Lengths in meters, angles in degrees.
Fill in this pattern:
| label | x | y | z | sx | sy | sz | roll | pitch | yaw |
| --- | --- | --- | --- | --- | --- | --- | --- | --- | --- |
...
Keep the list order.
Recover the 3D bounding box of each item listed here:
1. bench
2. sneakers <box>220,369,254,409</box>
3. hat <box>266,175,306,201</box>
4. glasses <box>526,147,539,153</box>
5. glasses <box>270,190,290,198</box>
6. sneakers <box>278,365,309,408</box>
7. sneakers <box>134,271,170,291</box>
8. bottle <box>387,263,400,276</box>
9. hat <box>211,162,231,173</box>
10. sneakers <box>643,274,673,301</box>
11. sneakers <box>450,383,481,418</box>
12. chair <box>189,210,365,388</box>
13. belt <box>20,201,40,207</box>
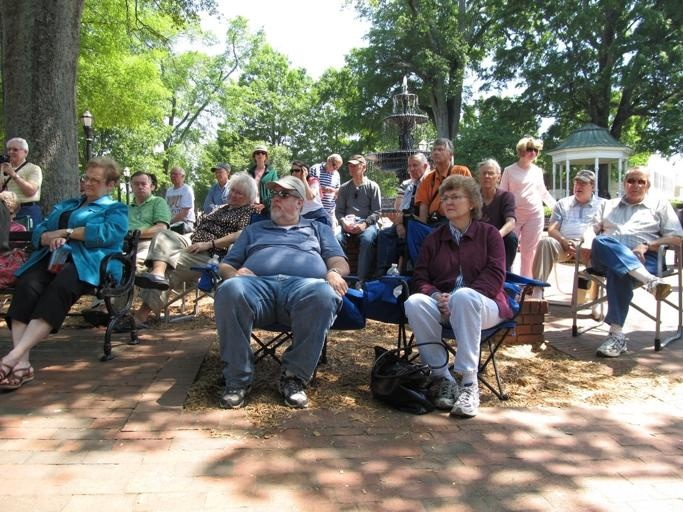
| label | x | y | z | sx | sy | sz | roll | pitch | yaw |
| --- | --- | --- | --- | --- | --- | --- | --- | --- | --- |
| bench | -2.454 | 0.356 | 5.223 | 1.524 | 0.797 | 0.554 | -2 | -4 | 23 |
| sneakers | -0.792 | 1.004 | 4.332 | 0.223 | 0.218 | 0.245 | 0 | 13 | -9 |
| hat | -0.466 | -0.618 | 5.042 | 0.193 | 0.134 | 0.293 | 9 | -13 | 44 |
| glasses | 2.566 | -1.444 | 7.774 | 0.085 | 0.070 | 0.023 | 2 | 8 | 5 |
| glasses | -0.530 | -0.540 | 4.996 | 0.123 | 0.040 | 0.133 | 0 | 1 | 9 |
| sneakers | -0.355 | 1.032 | 4.371 | 0.162 | 0.134 | 0.338 | 0 | -5 | -26 |
| sneakers | -1.923 | 0.252 | 5.893 | 0.338 | 0.150 | 0.131 | 13 | 36 | -11 |
| bottle | 0.538 | 0.147 | 6.094 | 0.141 | 0.156 | 0.134 | 5 | -9 | -31 |
| hat | -2.076 | -1.523 | 9.772 | 0.216 | 0.147 | 0.318 | -8 | -13 | 28 |
| sneakers | 3.004 | 0.320 | 5.492 | 0.164 | 0.132 | 0.363 | 45 | 12 | 12 |
| sneakers | 0.935 | 1.078 | 4.310 | 0.206 | 0.199 | 0.281 | 5 | 13 | 13 |
| chair | -0.450 | 0.270 | 4.702 | 1.106 | 1.557 | 1.272 | 0 | 13 | -7 |
| belt | -4.308 | -0.712 | 7.944 | 0.125 | 0.077 | 0.112 | 1 | -3 | -13 |
